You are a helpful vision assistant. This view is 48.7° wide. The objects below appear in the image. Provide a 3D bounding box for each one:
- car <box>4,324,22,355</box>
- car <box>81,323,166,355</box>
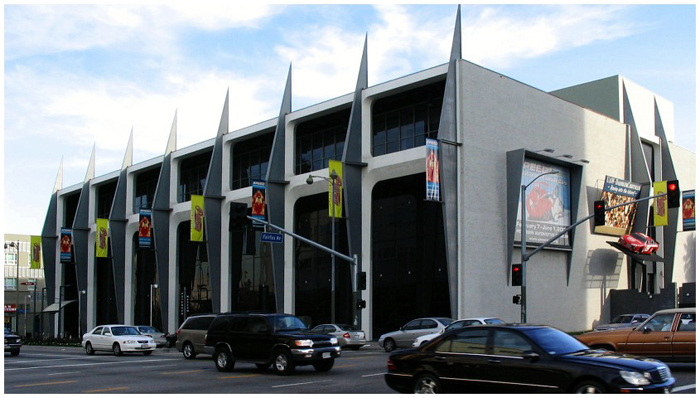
[{"bbox_3d":[-28.056,11.908,64.357,1.278,2.230,2.938,6,-15,-24],"label":"car"},{"bbox_3d":[-18.873,11.618,63.360,5.780,2.447,1.761,-7,-15,25],"label":"car"}]
